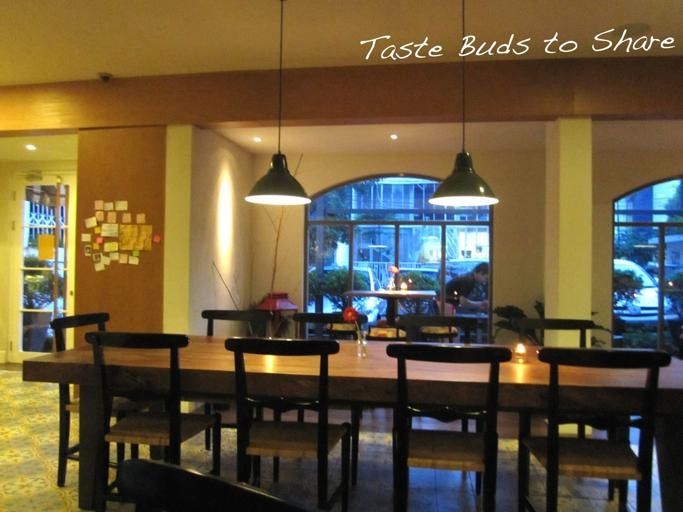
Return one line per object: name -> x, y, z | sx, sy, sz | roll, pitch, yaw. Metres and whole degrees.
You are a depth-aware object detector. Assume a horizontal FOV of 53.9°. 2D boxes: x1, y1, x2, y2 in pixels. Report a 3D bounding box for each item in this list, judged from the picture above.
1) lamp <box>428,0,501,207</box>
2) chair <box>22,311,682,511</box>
lamp -> 1.215, -1.246, 6.487 | 0.545, 1.694, 2.307 | 1, -2, 12
chair -> 0.147, 1.308, 4.832 | 4.629, 1.173, 0.605 | 1, -1, 5
